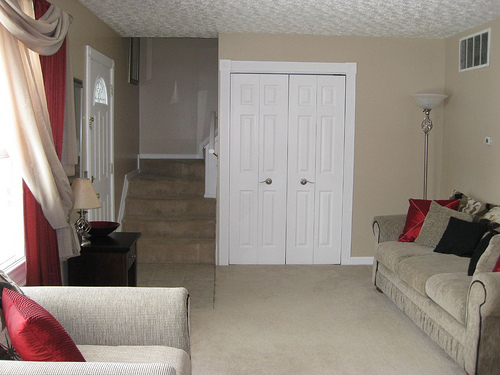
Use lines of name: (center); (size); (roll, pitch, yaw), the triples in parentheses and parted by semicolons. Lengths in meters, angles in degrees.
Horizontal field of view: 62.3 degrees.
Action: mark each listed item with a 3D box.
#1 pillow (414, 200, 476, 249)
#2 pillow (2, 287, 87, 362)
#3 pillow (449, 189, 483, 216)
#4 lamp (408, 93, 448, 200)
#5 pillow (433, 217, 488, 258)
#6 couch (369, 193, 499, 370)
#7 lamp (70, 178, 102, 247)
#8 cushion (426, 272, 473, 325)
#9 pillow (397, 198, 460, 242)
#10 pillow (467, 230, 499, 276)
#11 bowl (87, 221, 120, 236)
pillow: (1.990, 0.401, 4.379); (0.145, 0.467, 0.483); (20, -6, -37)
pillow: (-1.081, 0.627, 2.147); (0.282, 0.398, 0.543); (-8, 12, -34)
pillow: (2.422, 0.189, 4.573); (0.076, 0.250, 0.259); (24, 5, -22)
lamp: (2.200, -0.533, 5.214); (0.414, 1.285, 0.560); (5, 12, 23)
pillow: (2.070, 0.513, 4.067); (0.110, 0.353, 0.370); (20, 3, -31)
couch: (1.783, 0.821, 3.791); (0.606, 0.870, 1.673); (-1, 11, -10)
lamp: (-1.470, 0.210, 3.714); (0.225, 0.595, 0.309); (-4, 12, -24)
cushion: (1.646, 0.915, 3.366); (0.308, 0.139, 0.337); (-2, 3, -6)
pillow: (1.938, 0.375, 4.619); (0.169, 0.518, 0.528); (23, -11, -38)
pillow: (1.959, 0.560, 3.543); (0.133, 0.345, 0.339); (19, -3, 9)
bowl: (-1.413, 0.384, 3.926); (0.172, 0.055, 0.175); (1, 5, 0)
